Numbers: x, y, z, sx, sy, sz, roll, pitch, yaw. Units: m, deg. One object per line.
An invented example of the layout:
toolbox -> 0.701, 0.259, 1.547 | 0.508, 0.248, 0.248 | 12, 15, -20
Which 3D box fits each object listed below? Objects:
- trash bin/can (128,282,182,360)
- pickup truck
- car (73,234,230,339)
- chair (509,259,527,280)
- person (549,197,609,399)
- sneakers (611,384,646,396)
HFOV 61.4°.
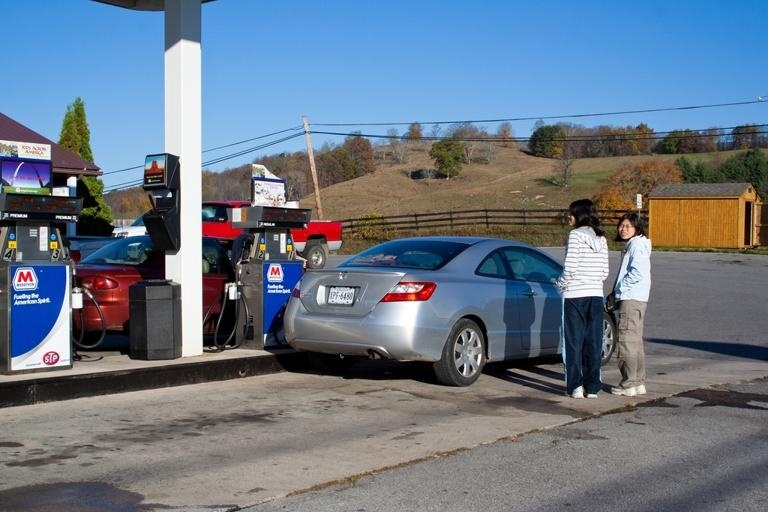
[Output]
trash bin/can -> -3.254, 0.931, 9.213 | 0.704, 1.069, 0.301 | 0, 0, -20
pickup truck -> -4.154, -0.665, 23.915 | 6.133, 2.223, 2.980 | -2, 4, -4
car -> -3.698, 0.419, 10.796 | 1.438, 1.206, 2.784 | 2, 4, 44
chair -> 1.996, 0.206, 9.621 | 0.317, 0.310, 0.238 | -1, 7, -24
person -> 2.530, 0.539, 8.251 | 0.668, 1.962, 0.366 | 0, 0, -20
sneakers -> 3.138, 1.744, 8.318 | 0.305, 0.127, 0.177 | 1, 3, 31
